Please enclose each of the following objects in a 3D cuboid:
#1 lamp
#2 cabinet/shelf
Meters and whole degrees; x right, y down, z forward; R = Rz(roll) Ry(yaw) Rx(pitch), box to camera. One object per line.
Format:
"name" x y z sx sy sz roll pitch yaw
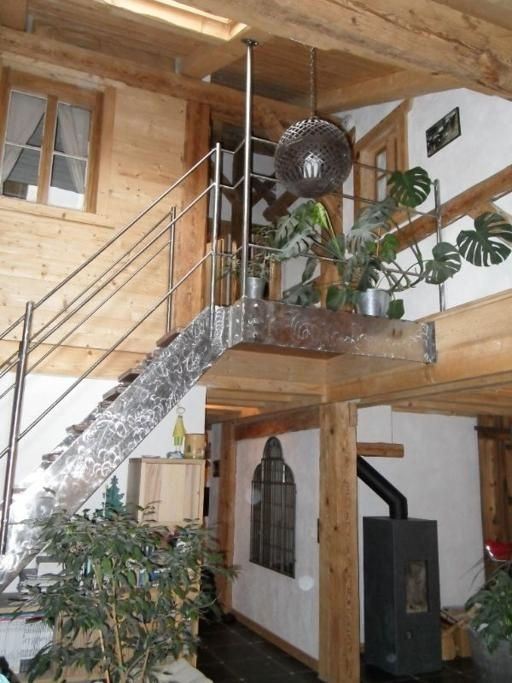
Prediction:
"lamp" 0.253 -0.842 2.505 0.331 0.393 0.243 0 -9 5
"cabinet/shelf" -0.586 1.434 3.672 0.518 1.374 0.539 3 -9 -12
